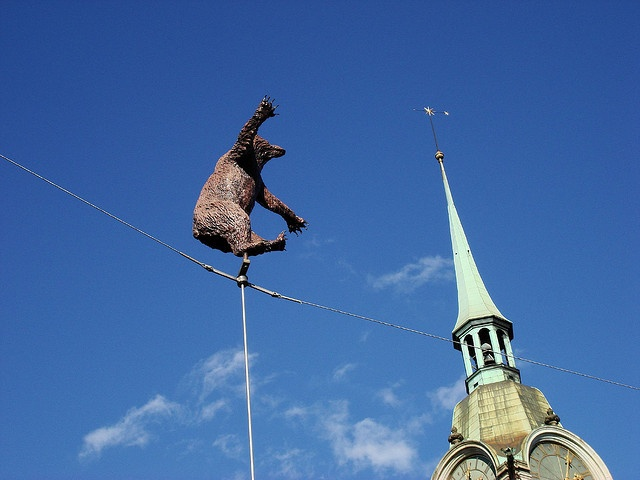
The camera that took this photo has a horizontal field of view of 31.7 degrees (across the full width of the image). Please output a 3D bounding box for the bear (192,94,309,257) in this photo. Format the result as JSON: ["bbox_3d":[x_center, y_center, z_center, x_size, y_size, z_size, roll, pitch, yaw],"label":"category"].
[{"bbox_3d":[-3.052,-1.618,41.347,3.202,4.822,3.301,-7,-48,2],"label":"bear"}]
